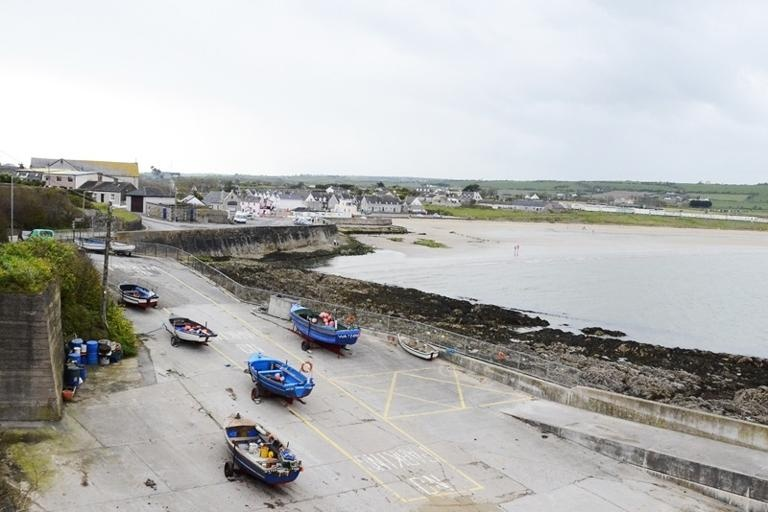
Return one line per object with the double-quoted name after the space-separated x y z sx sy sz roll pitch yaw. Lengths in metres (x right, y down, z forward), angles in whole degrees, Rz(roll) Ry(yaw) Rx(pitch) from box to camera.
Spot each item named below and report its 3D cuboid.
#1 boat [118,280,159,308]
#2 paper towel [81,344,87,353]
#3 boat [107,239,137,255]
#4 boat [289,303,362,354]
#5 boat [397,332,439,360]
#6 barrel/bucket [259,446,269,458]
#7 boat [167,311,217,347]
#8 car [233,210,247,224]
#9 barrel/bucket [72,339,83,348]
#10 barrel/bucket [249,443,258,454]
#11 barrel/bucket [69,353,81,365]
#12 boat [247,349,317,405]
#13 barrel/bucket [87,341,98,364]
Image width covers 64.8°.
-14.481 2.445 35.941 2.324 1.270 1.128 8 12 25 "boat"
-13.632 4.194 27.708 0.347 0.329 0.332 2 3 -23 "paper towel"
-19.902 -0.637 46.288 1.963 0.892 3.159 0 4 -31 "boat"
-3.456 4.188 33.790 4.182 1.958 2.123 10 12 37 "boat"
1.903 5.099 34.347 1.042 0.574 2.031 -6 20 -44 "boat"
-4.498 7.425 23.153 0.325 0.321 0.320 6 14 -2 "barrel/bucket"
-10.485 3.907 32.210 3.160 0.955 1.226 12 26 40 "boat"
-20.470 -5.513 86.766 1.907 1.196 2.978 -1 6 -22 "car"
-13.712 3.884 27.353 0.365 0.282 0.342 7 13 -2 "barrel/bucket"
-4.964 7.338 23.270 0.319 0.286 0.295 4 14 -1 "barrel/bucket"
-13.492 4.483 26.693 0.503 0.470 0.470 8 11 -1 "barrel/bucket"
-5.245 5.849 28.673 1.572 1.931 4.289 -4 18 -40 "boat"
-13.495 4.493 28.285 0.540 1.194 0.288 -5 14 -35 "barrel/bucket"
